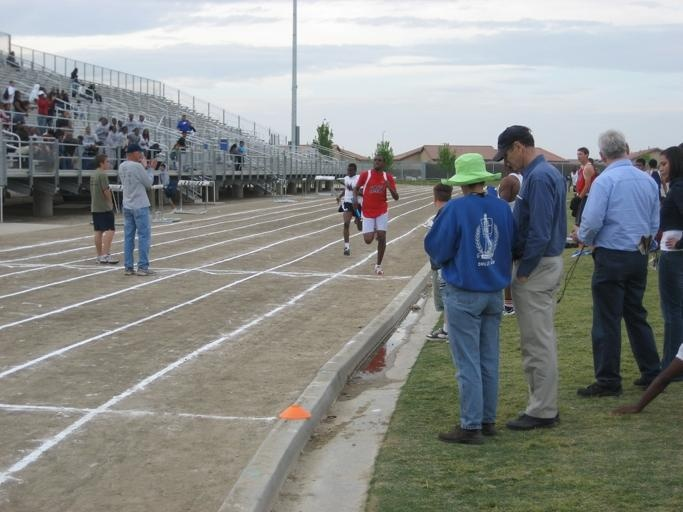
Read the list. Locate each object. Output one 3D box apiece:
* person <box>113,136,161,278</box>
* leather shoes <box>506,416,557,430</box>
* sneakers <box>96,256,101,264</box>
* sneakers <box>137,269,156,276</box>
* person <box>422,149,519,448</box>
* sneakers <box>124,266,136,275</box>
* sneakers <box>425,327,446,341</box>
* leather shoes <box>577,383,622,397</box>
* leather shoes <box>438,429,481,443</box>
[{"bbox_3d":[-3.678,-0.888,13.773,0.565,2.307,1.268,-1,8,-16],"label":"person"},{"bbox_3d":[1.616,1.414,6.622,0.437,0.168,0.150,2,-6,3],"label":"leather shoes"},{"bbox_3d":[-4.709,0.049,14.850,0.133,0.143,0.366,1,-1,-17],"label":"sneakers"},{"bbox_3d":[-3.444,0.272,13.506,0.272,0.097,0.117,-1,8,-21],"label":"sneakers"},{"bbox_3d":[1.036,0.331,6.380,0.712,2.374,0.527,3,8,10],"label":"person"},{"bbox_3d":[-3.744,0.246,13.543,0.089,0.086,0.207,2,8,8],"label":"sneakers"},{"bbox_3d":[1.188,0.978,9.498,0.289,0.111,0.093,1,1,17],"label":"sneakers"},{"bbox_3d":[2.444,1.281,7.333,0.430,0.145,0.149,1,-3,8],"label":"leather shoes"},{"bbox_3d":[0.981,1.486,6.377,0.341,0.130,0.125,3,-5,6],"label":"leather shoes"}]
